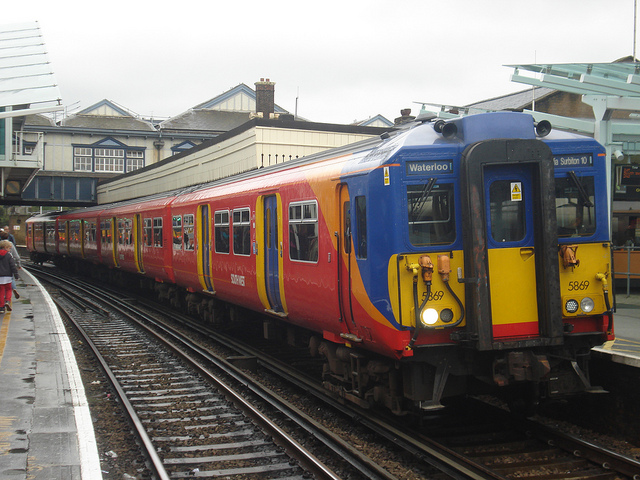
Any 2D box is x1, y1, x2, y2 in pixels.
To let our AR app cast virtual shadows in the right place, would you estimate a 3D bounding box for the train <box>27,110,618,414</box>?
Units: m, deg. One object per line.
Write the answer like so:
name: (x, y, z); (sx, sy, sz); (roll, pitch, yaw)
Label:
train: (-2.319, 0.115, 18.417); (2.909, 3.787, 21.831); (-12, 6, -25)
